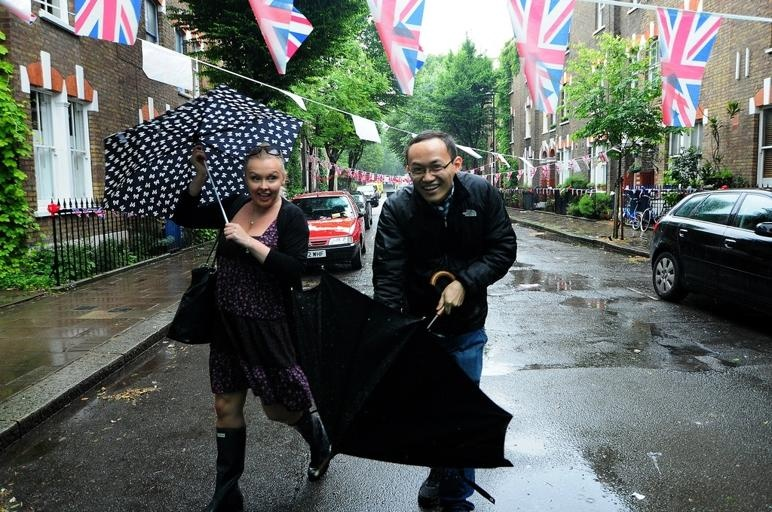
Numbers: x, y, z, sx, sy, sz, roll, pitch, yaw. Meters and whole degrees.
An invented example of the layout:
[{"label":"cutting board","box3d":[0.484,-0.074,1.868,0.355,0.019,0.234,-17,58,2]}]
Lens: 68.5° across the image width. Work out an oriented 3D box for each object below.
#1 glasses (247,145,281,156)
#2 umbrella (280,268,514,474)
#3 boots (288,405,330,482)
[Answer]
[{"label":"glasses","box3d":[-0.893,-0.780,4.193,0.257,0.084,0.112,-4,12,-17]},{"label":"umbrella","box3d":[0.073,0.897,3.919,1.346,1.392,0.682,30,39,19]},{"label":"boots","box3d":[-0.579,1.572,4.672,0.165,0.446,0.452,-19,13,13]}]
